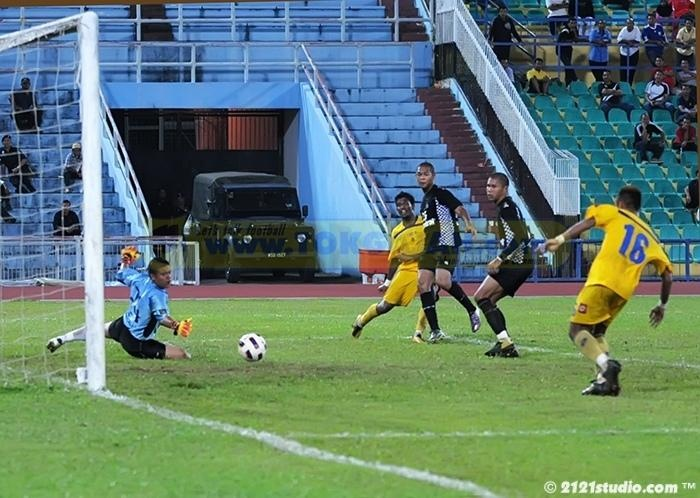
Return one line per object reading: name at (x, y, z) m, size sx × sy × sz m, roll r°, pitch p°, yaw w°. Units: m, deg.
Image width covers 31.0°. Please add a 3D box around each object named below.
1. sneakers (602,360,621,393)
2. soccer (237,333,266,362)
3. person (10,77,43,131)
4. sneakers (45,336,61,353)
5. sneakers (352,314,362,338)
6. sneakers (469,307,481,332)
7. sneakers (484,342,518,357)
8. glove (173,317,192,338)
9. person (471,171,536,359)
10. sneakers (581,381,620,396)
sneakers at (3.316, 1.596, 15.880) m, size 0.184 × 0.452 × 0.232 m, roll -3°, pitch 6°, yaw -6°
soccer at (-1.381, 1.389, 17.723) m, size 0.334 × 0.324 × 0.415 m, roll 8°, pitch -3°, yaw -19°
person at (-7.431, -3.307, 29.005) m, size 0.836 × 1.231 × 0.777 m, roll 4°, pitch 20°, yaw -7°
sneakers at (-4.233, 1.374, 18.053) m, size 0.171 × 0.270 × 0.106 m, roll 38°, pitch -3°, yaw -8°
sneakers at (0.102, 1.211, 19.634) m, size 0.128 × 0.355 × 0.173 m, roll 1°, pitch -16°, yaw 43°
sneakers at (1.941, 1.074, 19.606) m, size 0.181 × 0.419 × 0.148 m, roll 17°, pitch -20°, yaw -36°
sneakers at (2.196, 1.462, 18.210) m, size 0.527 × 0.231 × 0.183 m, roll 1°, pitch 2°, yaw 3°
glove at (-2.312, 1.081, 17.354) m, size 0.212 × 0.319 × 0.455 m, roll -3°, pitch 13°, yaw -13°
person at (2.222, 0.255, 18.351) m, size 0.797 × 2.722 × 1.053 m, roll 1°, pitch 13°, yaw 7°
sneakers at (3.150, 1.780, 15.904) m, size 0.552 × 0.201 × 0.177 m, roll 1°, pitch 2°, yaw 0°
